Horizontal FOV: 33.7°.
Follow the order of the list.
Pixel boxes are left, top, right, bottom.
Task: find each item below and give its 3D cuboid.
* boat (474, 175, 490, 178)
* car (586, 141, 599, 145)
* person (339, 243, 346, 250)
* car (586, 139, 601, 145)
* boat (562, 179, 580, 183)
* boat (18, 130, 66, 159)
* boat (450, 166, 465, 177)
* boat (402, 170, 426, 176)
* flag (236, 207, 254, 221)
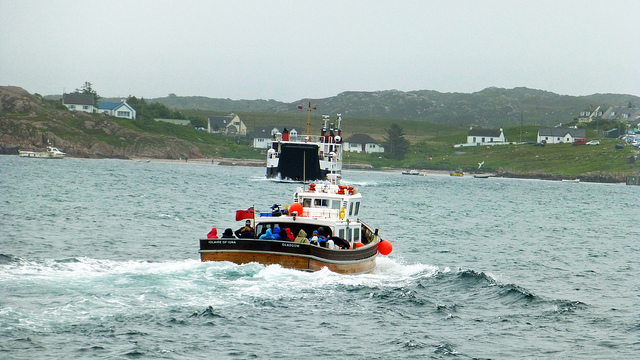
[{"bbox_3d":[44.405,-1.049,298.330,4.113,0.591,0.908,0,2,10],"label":"boat"},{"bbox_3d":[79.744,-11.019,309.924,3.069,0.856,1.336,3,7,0],"label":"car"},{"bbox_3d":[3.207,10.574,170.230,0.776,0.901,0.349,4,-5,9],"label":"person"},{"bbox_3d":[80.595,-11.266,310.771,4.462,1.806,2.731,4,5,-1],"label":"car"},{"bbox_3d":[66.810,0.220,285.311,6.027,1.010,1.313,-2,7,8],"label":"boat"},{"bbox_3d":[-77.183,-8.647,292.794,16.705,5.603,6.129,2,-3,23],"label":"boat"},{"bbox_3d":[39.666,-2.599,309.241,3.057,1.586,4.978,2,6,15],"label":"boat"},{"bbox_3d":[26.704,-2.172,307.248,7.397,1.845,1.949,-1,5,-3],"label":"boat"},{"bbox_3d":[-12.948,5.654,175.761,3.646,2.339,0.491,1,7,5],"label":"flag"}]
